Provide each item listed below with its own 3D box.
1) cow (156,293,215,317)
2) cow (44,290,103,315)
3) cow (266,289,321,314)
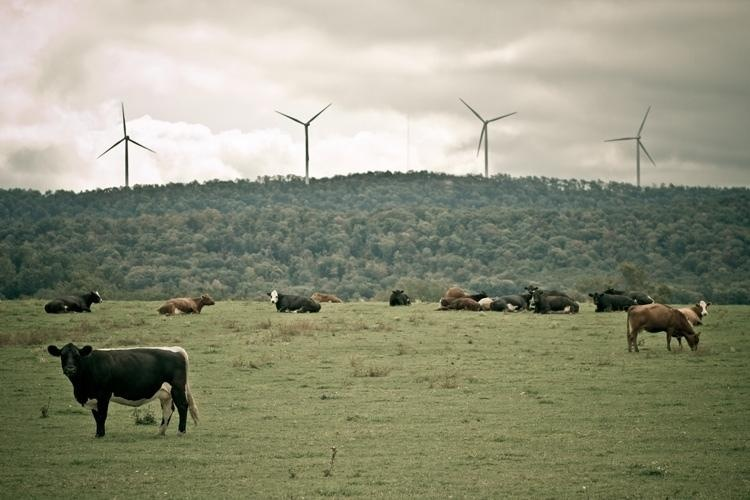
[{"bbox_3d":[-16.800,4.882,108.225,4.848,2.061,1.568,-2,6,-32],"label":"cow"},{"bbox_3d":[-26.439,4.525,106.583,2.975,2.158,5.496,-1,-5,15],"label":"cow"},{"bbox_3d":[-8.038,4.982,114.023,5.331,2.543,1.919,8,-6,17],"label":"cow"}]
